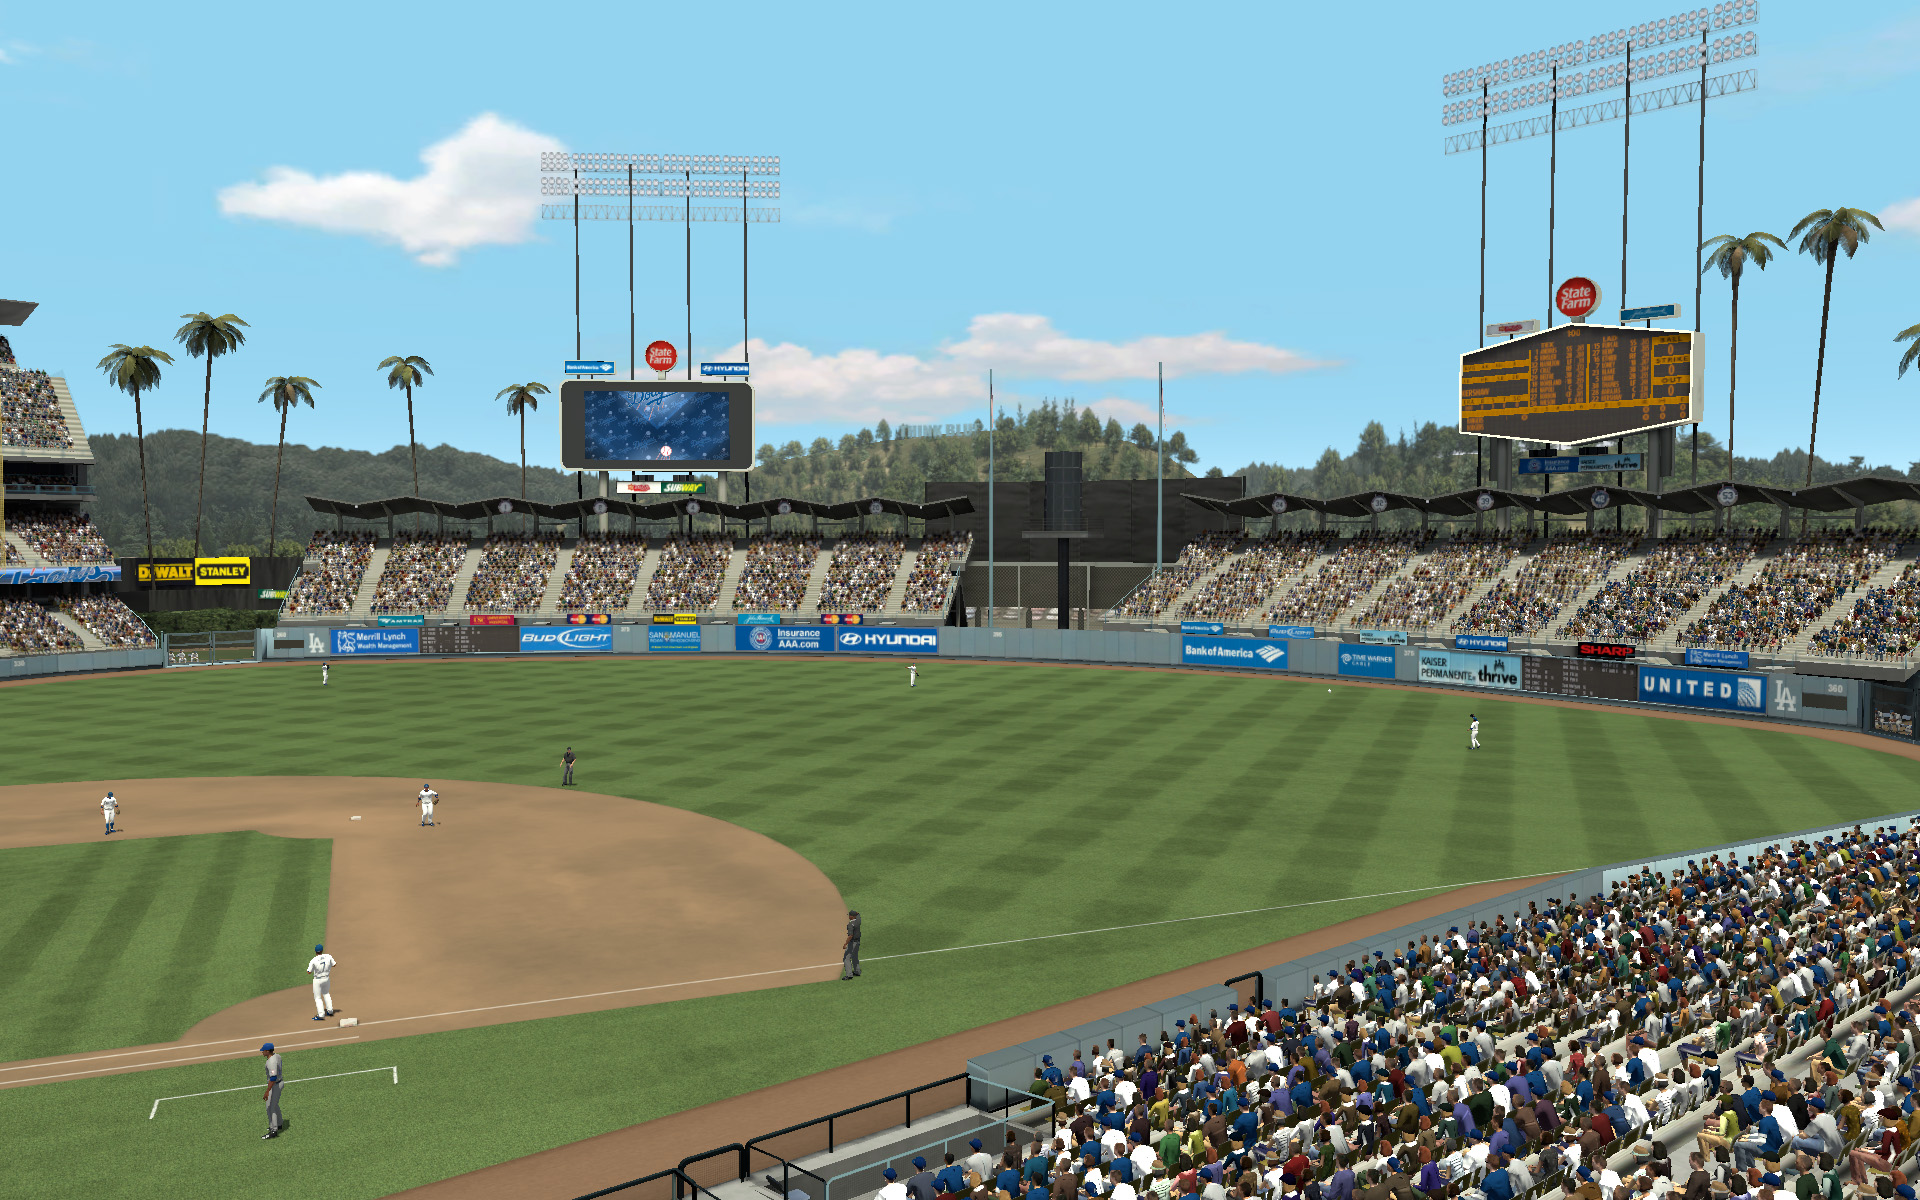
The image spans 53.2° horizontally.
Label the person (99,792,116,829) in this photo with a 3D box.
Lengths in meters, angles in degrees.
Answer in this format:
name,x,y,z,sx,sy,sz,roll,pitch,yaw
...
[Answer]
name,x,y,z,sx,sy,sz,roll,pitch,yaw
person,-32.589,8.140,73.110,0.558,1.426,1.872,-4,7,-26
